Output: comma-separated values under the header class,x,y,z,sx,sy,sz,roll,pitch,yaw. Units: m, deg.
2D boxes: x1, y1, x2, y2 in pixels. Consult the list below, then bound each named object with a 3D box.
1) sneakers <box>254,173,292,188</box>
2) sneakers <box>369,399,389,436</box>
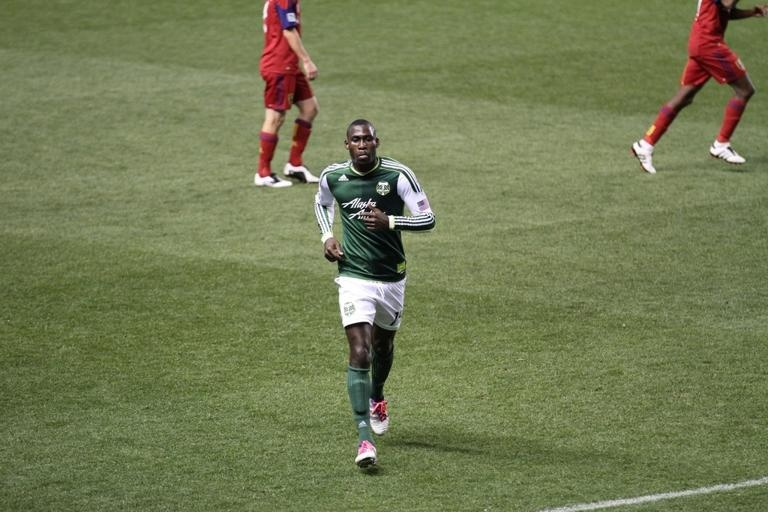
class,x,y,z,sx,sy,sz,roll,pitch,yaw
sneakers,-1.347,-0.937,16.805,0.465,0.166,0.163,0,7,1
sneakers,-0.090,1.541,13.632,0.138,0.363,0.163,-6,2,-8
